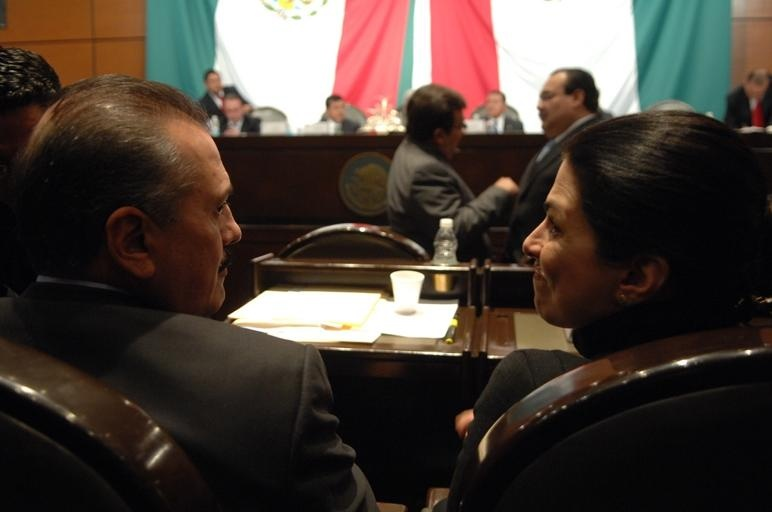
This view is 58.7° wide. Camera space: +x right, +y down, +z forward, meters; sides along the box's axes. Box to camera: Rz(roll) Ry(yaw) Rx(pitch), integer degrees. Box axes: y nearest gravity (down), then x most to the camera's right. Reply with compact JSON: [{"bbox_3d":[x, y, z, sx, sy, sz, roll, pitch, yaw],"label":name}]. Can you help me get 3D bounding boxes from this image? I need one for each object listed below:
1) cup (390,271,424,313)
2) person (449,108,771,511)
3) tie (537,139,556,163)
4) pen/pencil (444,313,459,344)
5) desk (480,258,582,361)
[{"bbox_3d":[0.068,0.115,2.257,0.124,0.129,0.123,3,7,0],"label":"cup"},{"bbox_3d":[0.669,0.010,1.666,0.567,0.963,0.603,20,18,29],"label":"person"},{"bbox_3d":[0.830,-0.545,3.578,0.029,0.117,0.124,32,25,-12],"label":"tie"},{"bbox_3d":[0.202,0.234,2.085,0.026,0.011,0.091,2,23,15],"label":"pen/pencil"},{"bbox_3d":[0.497,0.137,2.482,0.351,0.444,0.467,8,-12,10],"label":"desk"}]
